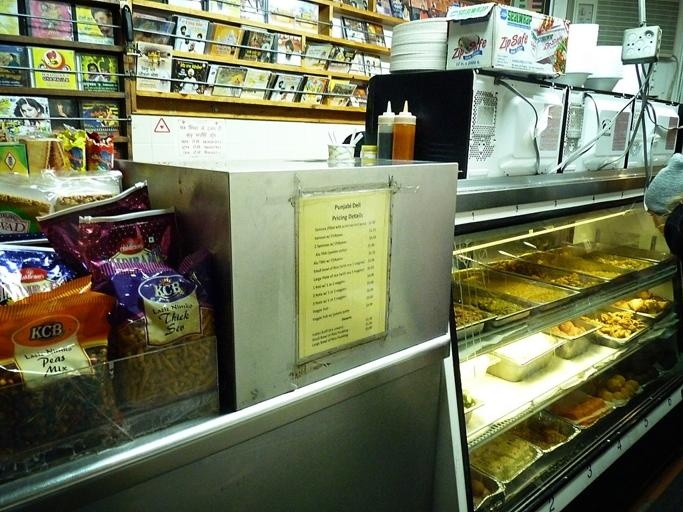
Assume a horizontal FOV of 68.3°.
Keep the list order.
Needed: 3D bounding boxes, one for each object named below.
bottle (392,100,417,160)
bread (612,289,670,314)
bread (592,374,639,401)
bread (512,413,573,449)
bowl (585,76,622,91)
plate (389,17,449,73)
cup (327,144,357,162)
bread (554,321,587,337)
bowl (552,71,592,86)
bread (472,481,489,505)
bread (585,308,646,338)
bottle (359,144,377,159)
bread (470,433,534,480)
[{"bbox_3d":[0.234,-0.474,1.897,0.079,0.192,0.202,2,21,5],"label":"bottle"},{"bbox_3d":[1.658,0.256,2.748,0.203,0.046,0.201,-13,24,-11],"label":"bread"},{"bbox_3d":[1.387,0.686,2.537,0.214,0.070,0.123,-11,42,-15],"label":"bread"},{"bbox_3d":[0.893,0.763,2.188,0.179,0.040,0.175,-20,33,-33],"label":"bread"},{"bbox_3d":[1.302,-0.857,2.504,0.218,0.074,0.128,-13,25,-31],"label":"bowl"},{"bbox_3d":[0.318,-0.863,2.072,0.267,0.201,0.071,17,26,36],"label":"plate"},{"bbox_3d":[0.004,-0.335,1.603,0.066,0.040,0.067,0,15,0],"label":"cup"},{"bbox_3d":[1.048,0.339,2.313,0.105,0.048,0.139,9,21,31],"label":"bread"},{"bbox_3d":[1.091,-0.829,2.355,0.118,0.043,0.118,-1,5,0],"label":"bowl"},{"bbox_3d":[0.518,0.876,1.865,0.067,0.045,0.097,5,22,12],"label":"bread"},{"bbox_3d":[1.437,0.371,2.592,0.204,0.046,0.206,0,24,5],"label":"bread"},{"bbox_3d":[0.098,-0.372,1.800,0.070,0.066,0.071,3,14,15],"label":"bottle"},{"bbox_3d":[0.662,0.807,2.025,0.224,0.044,0.145,-15,30,-40],"label":"bread"}]
